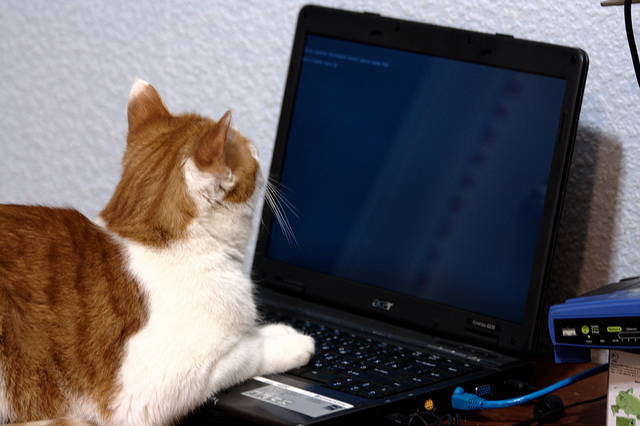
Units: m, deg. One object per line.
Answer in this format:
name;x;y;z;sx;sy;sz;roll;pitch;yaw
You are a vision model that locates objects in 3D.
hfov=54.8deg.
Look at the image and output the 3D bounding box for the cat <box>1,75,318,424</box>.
cat;-0.287;0.036;0.967;0.446;0.182;0.565;-15;77;-1
